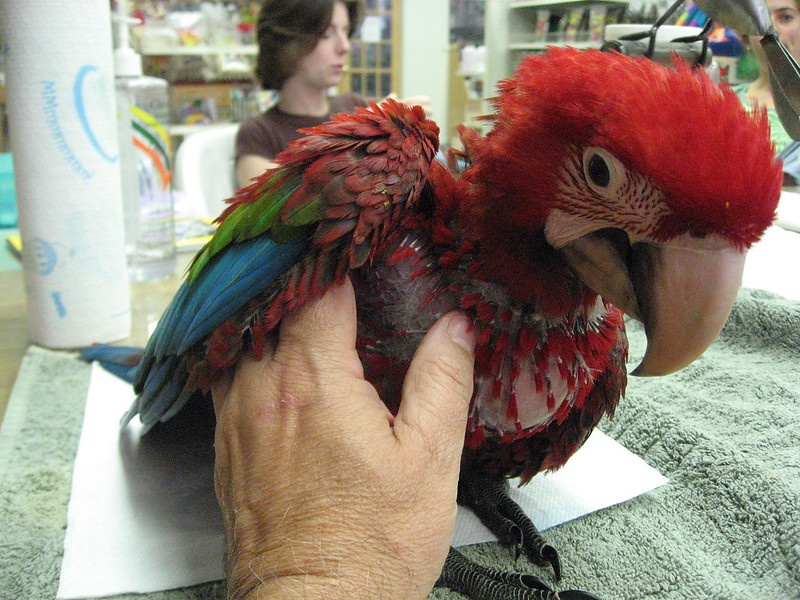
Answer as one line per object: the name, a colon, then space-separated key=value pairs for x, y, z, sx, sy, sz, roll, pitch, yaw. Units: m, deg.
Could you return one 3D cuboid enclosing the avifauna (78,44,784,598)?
avifauna: x=0.024 y=0.009 z=0.665 sx=0.506 sy=0.442 sz=0.234 roll=12 pitch=24 yaw=19
